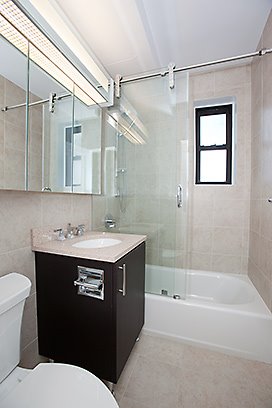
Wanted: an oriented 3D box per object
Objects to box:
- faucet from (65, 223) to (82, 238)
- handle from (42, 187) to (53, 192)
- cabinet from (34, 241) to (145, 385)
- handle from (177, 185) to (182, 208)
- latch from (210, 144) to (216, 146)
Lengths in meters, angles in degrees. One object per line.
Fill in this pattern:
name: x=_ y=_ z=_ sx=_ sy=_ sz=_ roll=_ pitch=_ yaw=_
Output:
faucet: x=-0.454 y=0.213 z=2.122 sx=0.053 sy=0.101 sz=0.126 roll=1 pitch=-2 yaw=18
handle: x=-0.503 y=-0.081 z=1.646 sx=0.006 sy=0.037 sz=0.103 roll=3 pitch=12 yaw=15
cabinet: x=-0.272 y=0.521 z=2.068 sx=0.569 sy=0.916 sz=0.841 roll=0 pitch=1 yaw=13
handle: x=0.339 y=-0.058 z=2.301 sx=0.035 sy=0.179 sz=0.023 roll=2 pitch=10 yaw=10
latch: x=0.761 y=-0.587 z=2.863 sx=0.040 sy=0.018 sz=0.024 roll=-1 pitch=1 yaw=10
